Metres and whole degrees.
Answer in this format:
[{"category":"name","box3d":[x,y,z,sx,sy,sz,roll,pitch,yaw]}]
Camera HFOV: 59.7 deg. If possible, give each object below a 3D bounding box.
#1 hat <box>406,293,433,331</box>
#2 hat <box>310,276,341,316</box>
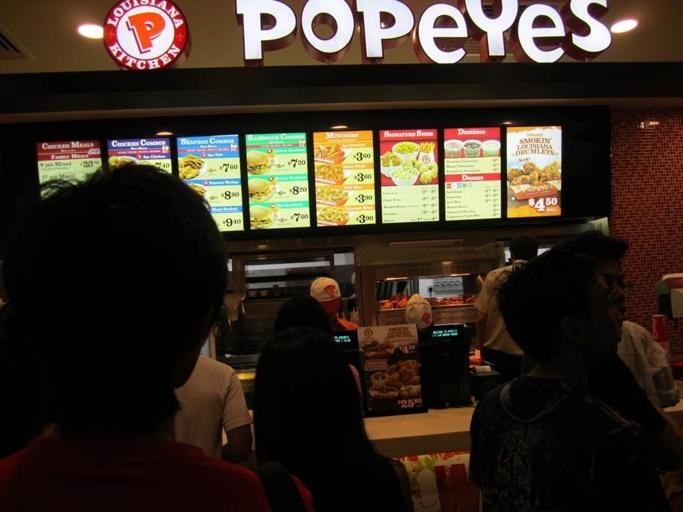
[{"category":"hat","box3d":[0.490,0.352,3.761,0.137,0.135,0.213,0,25,14]},{"category":"hat","box3d":[-0.113,0.267,3.836,0.182,0.241,0.239,-4,-1,-15]}]
